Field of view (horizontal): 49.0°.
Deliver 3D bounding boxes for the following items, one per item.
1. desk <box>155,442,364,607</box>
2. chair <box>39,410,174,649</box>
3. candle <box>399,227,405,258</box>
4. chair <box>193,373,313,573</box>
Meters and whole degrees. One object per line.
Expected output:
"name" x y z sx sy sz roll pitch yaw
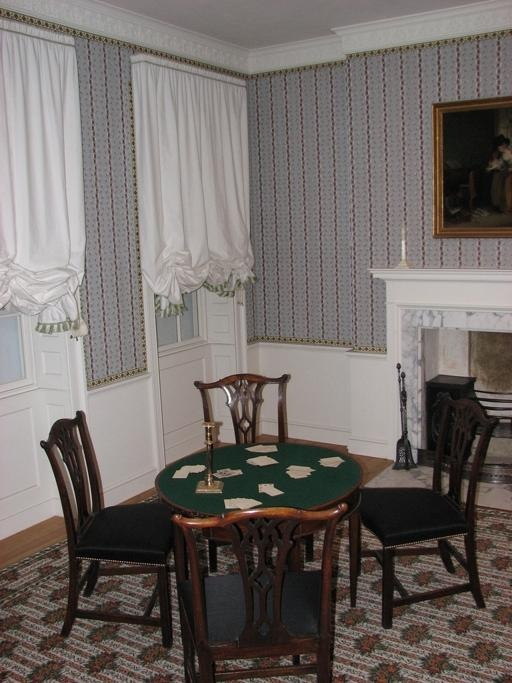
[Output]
"desk" -0.035 0.899 2.543 1.014 0.631 0.985 -16 -26 18
"chair" -0.594 0.804 2.465 0.566 0.869 0.494 0 8 -5
"candle" 1.117 -0.743 4.245 0.043 0.252 0.074 1 8 15
"chair" -0.052 0.628 2.899 0.670 0.993 0.646 -2 -9 -23
